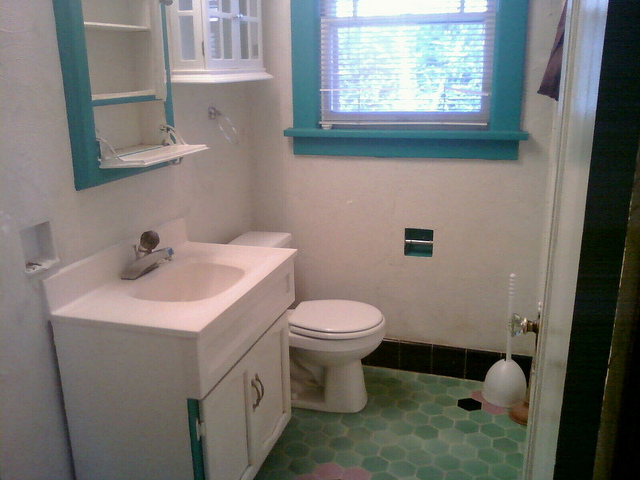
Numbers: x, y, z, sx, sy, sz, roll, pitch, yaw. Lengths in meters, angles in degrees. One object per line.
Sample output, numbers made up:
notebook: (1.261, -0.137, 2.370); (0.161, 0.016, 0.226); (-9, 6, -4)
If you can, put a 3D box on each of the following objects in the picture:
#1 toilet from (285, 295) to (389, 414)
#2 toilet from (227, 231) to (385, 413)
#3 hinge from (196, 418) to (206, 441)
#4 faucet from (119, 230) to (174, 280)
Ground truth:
toilet: (0.079, 0.584, 2.699); (0.454, 0.499, 0.357); (0, 21, 0)
toilet: (-0.054, 0.445, 2.727); (0.793, 0.711, 0.439); (4, 13, 20)
hinge: (-0.371, 0.588, 1.681); (0.029, 0.073, 0.011); (-6, 22, -14)
faucet: (-0.656, 0.044, 2.028); (0.148, 0.120, 0.225); (4, 20, 29)
